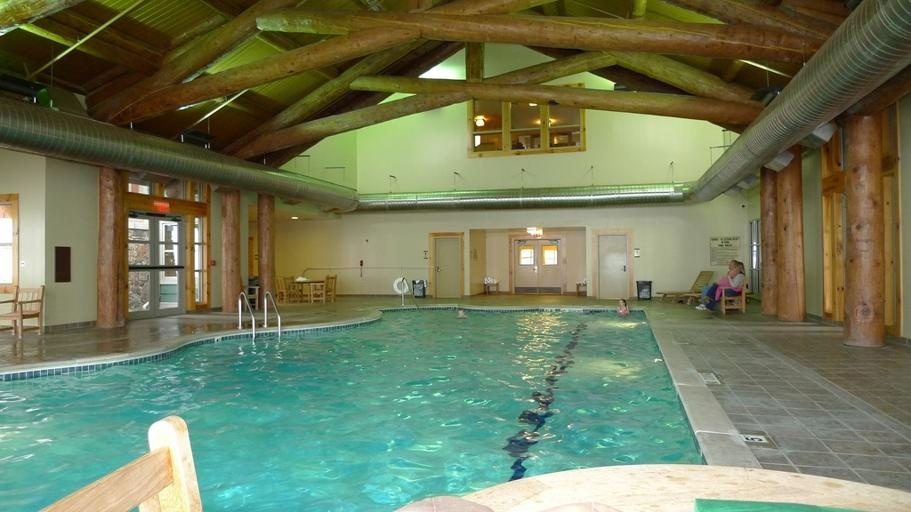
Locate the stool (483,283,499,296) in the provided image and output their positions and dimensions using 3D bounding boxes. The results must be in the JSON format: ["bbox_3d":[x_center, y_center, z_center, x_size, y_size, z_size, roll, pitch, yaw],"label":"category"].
[{"bbox_3d":[1.494,1.352,22.160,0.558,0.401,0.499,-1,-1,9],"label":"stool"}]

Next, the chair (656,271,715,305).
[{"bbox_3d":[7.714,0.964,17.146,1.783,0.736,1.116,0,-2,-32],"label":"chair"}]

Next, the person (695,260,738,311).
[{"bbox_3d":[7.743,0.870,15.600,1.518,1.606,0.759,1,37,33],"label":"person"}]

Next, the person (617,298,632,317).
[{"bbox_3d":[4.592,1.382,14.393,0.351,0.454,0.769,0,10,18],"label":"person"}]

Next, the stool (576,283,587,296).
[{"bbox_3d":[4.924,1.255,20.413,0.604,0.449,0.533,-1,-3,5],"label":"stool"}]

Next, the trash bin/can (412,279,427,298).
[{"bbox_3d":[-1.342,1.192,19.466,0.698,0.638,0.604,0,1,10],"label":"trash bin/can"}]

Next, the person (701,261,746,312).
[{"bbox_3d":[7.697,0.885,15.123,1.374,1.530,0.748,9,34,30],"label":"person"}]
